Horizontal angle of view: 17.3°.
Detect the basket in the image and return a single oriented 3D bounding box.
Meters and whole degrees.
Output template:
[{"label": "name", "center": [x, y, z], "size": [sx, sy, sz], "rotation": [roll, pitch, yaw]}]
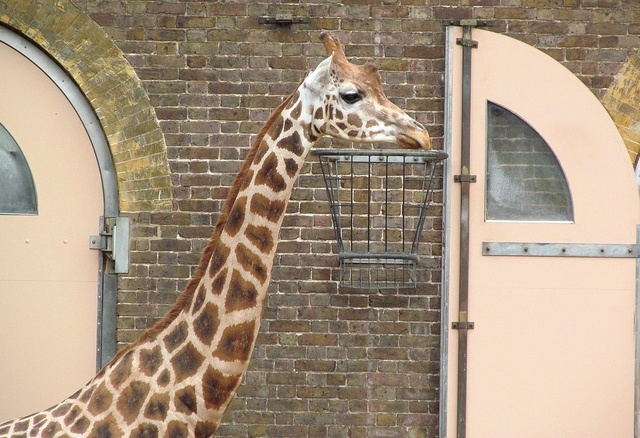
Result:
[{"label": "basket", "center": [0.472, -0.038, 15.758], "size": [0.709, 0.941, 0.935], "rotation": [-3, 32, -20]}]
